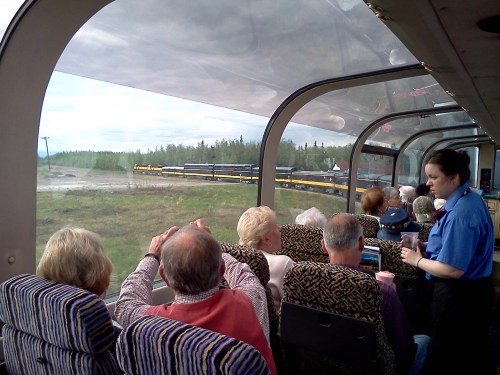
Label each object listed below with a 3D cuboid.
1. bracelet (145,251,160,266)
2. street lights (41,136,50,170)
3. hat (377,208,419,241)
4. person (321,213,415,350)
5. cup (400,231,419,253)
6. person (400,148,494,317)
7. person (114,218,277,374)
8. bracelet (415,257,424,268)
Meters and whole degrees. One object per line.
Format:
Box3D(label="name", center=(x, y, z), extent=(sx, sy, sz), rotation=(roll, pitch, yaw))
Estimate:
Box3D(label="bracelet", center=(-0.638, 0.465, 1.849), extent=(0.062, 0.036, 0.086), rotation=(-22, -42, 36))
Box3D(label="street lights", center=(-1.875, -0.308, 2.637), extent=(0.042, 0.318, 0.079), rotation=(2, 2, 8))
Box3D(label="hat", center=(1.704, 0.479, 3.450), extent=(0.465, 0.255, 0.368), rotation=(-17, 25, 52))
Box3D(label="person", center=(0.852, 0.673, 2.333), extent=(0.622, 1.149, 0.801), rotation=(-4, -8, 43))
Box3D(label="cup", center=(1.473, 0.512, 2.676), extent=(0.142, 0.174, 0.161), rotation=(2, 4, 14))
Box3D(label="person", center=(1.726, 0.284, 2.491), extent=(0.715, 1.237, 0.464), rotation=(2, 3, 23))
Box3D(label="person", center=(-0.372, 0.370, 1.830), extent=(0.591, 0.587, 1.201), rotation=(-7, 11, -9))
Box3D(label="bracelet", center=(1.463, 0.659, 2.492), extent=(0.081, 0.097, 0.067), rotation=(12, 5, 38))
